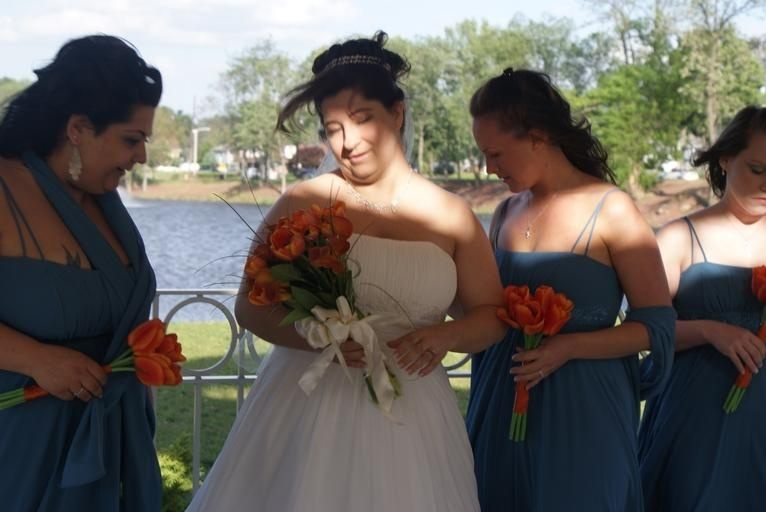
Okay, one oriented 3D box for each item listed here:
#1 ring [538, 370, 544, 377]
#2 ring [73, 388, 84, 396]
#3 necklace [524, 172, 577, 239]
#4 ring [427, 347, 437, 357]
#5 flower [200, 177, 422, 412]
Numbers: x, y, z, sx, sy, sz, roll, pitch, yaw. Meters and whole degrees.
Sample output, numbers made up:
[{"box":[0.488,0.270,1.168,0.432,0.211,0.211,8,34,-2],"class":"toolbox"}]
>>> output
[{"box":[0.886,0.659,4.785,0.006,0.028,0.026,-8,-4,44],"class":"ring"},{"box":[-1.588,0.716,4.494,0.059,0.053,0.037,8,11,40],"class":"ring"},{"box":[0.957,-0.278,5.085,0.076,0.406,0.233,11,-18,-37],"class":"necklace"},{"box":[0.258,0.504,4.500,0.042,0.043,0.030,21,7,43],"class":"ring"},{"box":[-0.236,0.326,4.528,0.697,1.040,0.716,-31,4,-7],"class":"flower"}]
